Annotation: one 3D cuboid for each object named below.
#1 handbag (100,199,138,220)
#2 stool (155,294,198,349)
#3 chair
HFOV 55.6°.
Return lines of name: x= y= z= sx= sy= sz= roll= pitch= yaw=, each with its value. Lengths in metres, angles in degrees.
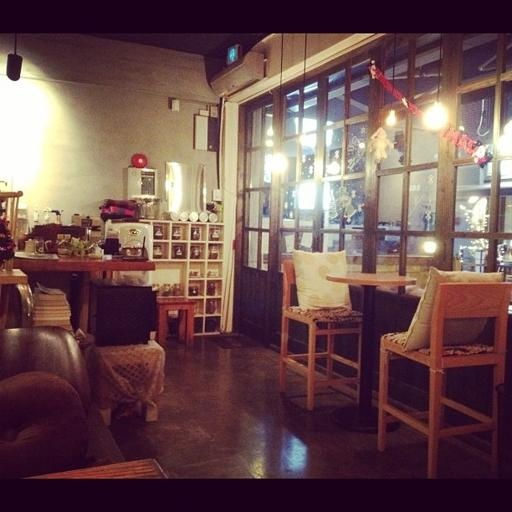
handbag: x=-1.504 y=-0.448 z=5.280 sx=0.288 sy=0.141 sz=0.302 roll=4 pitch=4 yaw=30
stool: x=-0.895 y=0.725 z=5.388 sx=0.480 sy=0.493 sz=0.418 roll=-1 pitch=4 yaw=-32
chair: x=0.766 y=0.565 z=3.184 sx=0.632 sy=1.072 sz=1.595 roll=0 pitch=-1 yaw=-18
